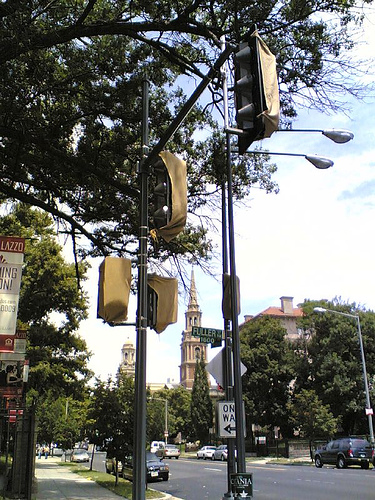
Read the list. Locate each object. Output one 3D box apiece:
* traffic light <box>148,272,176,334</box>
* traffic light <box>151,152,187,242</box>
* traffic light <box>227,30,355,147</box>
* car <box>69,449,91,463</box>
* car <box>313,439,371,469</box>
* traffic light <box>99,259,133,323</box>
[{"bbox_3d":[-0.291,0.626,6.802,0.324,0.730,0.247,0,-16,-4],"label":"traffic light"},{"bbox_3d":[-0.224,-0.648,6.950,0.264,1.166,0.471,12,-21,-37],"label":"traffic light"},{"bbox_3d":[0.808,-1.270,4.759,0.840,0.924,0.577,-11,-33,22],"label":"traffic light"},{"bbox_3d":[-9.570,18.041,51.516,1.247,0.994,2.069,8,-28,-20],"label":"car"},{"bbox_3d":[7.921,10.257,29.894,1.525,1.273,3.321,10,-25,-12],"label":"car"},{"bbox_3d":[-0.804,0.467,6.589,0.356,0.780,0.366,2,-16,-8],"label":"traffic light"}]
